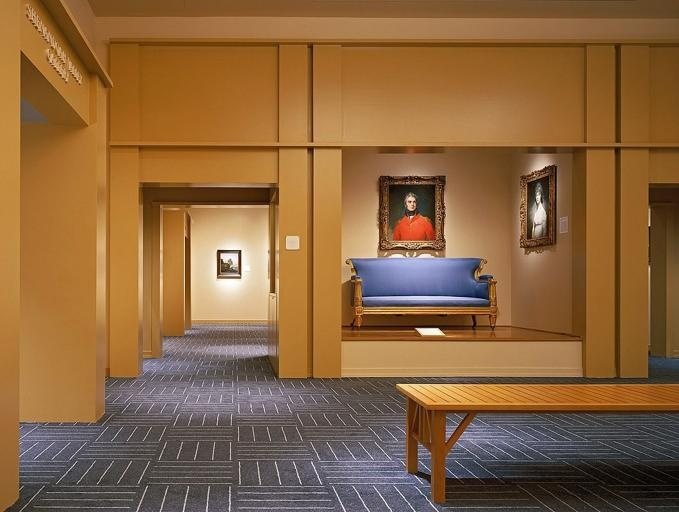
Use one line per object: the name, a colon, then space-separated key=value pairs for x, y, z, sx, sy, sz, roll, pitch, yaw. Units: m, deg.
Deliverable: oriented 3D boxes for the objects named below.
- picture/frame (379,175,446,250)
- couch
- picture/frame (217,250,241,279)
picture/frame: x=1.243 y=-0.790 z=9.644 sx=1.189 sy=1.453 sz=0.111 roll=0 pitch=1 yaw=0
couch: x=1.329 y=0.595 z=9.058 sx=2.271 sy=1.158 sz=1.062 roll=0 pitch=-2 yaw=-3
picture/frame: x=-3.411 y=0.251 z=16.546 sx=0.779 sy=0.973 sz=0.066 roll=0 pitch=-4 yaw=-4
